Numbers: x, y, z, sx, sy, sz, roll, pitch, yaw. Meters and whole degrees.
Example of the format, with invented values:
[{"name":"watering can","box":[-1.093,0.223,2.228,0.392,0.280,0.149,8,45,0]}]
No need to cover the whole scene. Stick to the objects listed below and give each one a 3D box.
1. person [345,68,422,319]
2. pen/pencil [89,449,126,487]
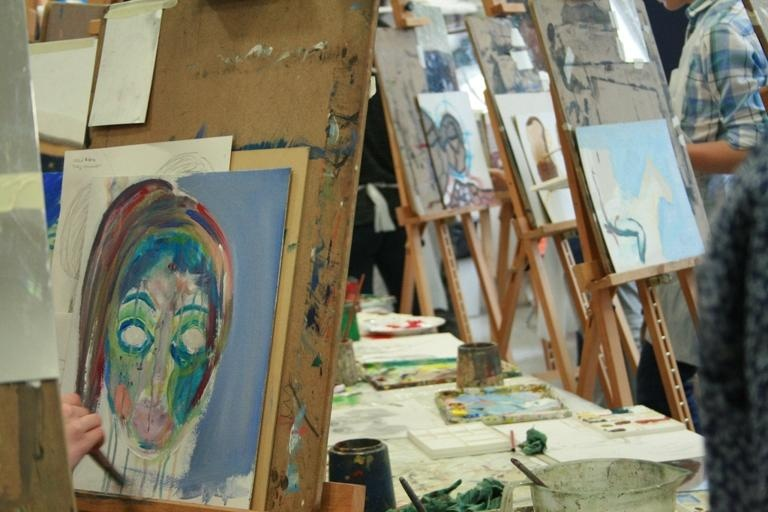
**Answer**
[{"name":"person","box":[-0.048,-0.285,5.901,0.328,1.220,0.320,-3,8,-12]},{"name":"pen/pencil","box":[-0.660,0.507,2.515,0.024,0.101,0.025,-38,-14,-27]}]
